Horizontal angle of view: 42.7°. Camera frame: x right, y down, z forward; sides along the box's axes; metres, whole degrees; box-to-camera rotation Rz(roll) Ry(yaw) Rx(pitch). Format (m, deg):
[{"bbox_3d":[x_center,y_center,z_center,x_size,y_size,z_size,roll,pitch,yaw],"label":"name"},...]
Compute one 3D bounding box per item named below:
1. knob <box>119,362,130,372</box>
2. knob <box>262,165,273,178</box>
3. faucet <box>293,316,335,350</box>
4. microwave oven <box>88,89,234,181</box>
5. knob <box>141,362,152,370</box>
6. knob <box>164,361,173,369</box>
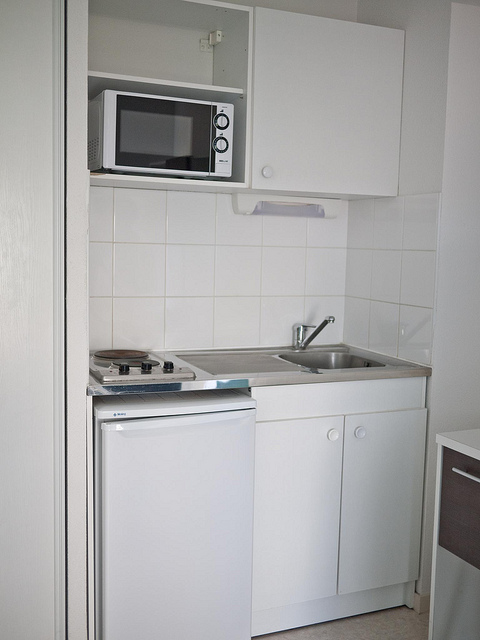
[{"bbox_3d":[-0.347,0.138,1.837,0.024,0.021,0.026,-6,10,-35],"label":"knob"},{"bbox_3d":[0.092,-0.495,2.046,0.042,0.041,0.016,-3,7,-38],"label":"knob"},{"bbox_3d":[0.283,0.053,2.434,0.122,0.149,0.266,1,5,-1],"label":"faucet"},{"bbox_3d":[-0.264,-0.596,2.016,0.431,0.240,0.253,-4,15,-26],"label":"microwave oven"},{"bbox_3d":[-0.284,0.138,1.861,0.023,0.016,0.023,3,1,-5],"label":"knob"},{"bbox_3d":[-0.224,0.139,1.899,0.019,0.014,0.019,-1,8,-27],"label":"knob"}]
